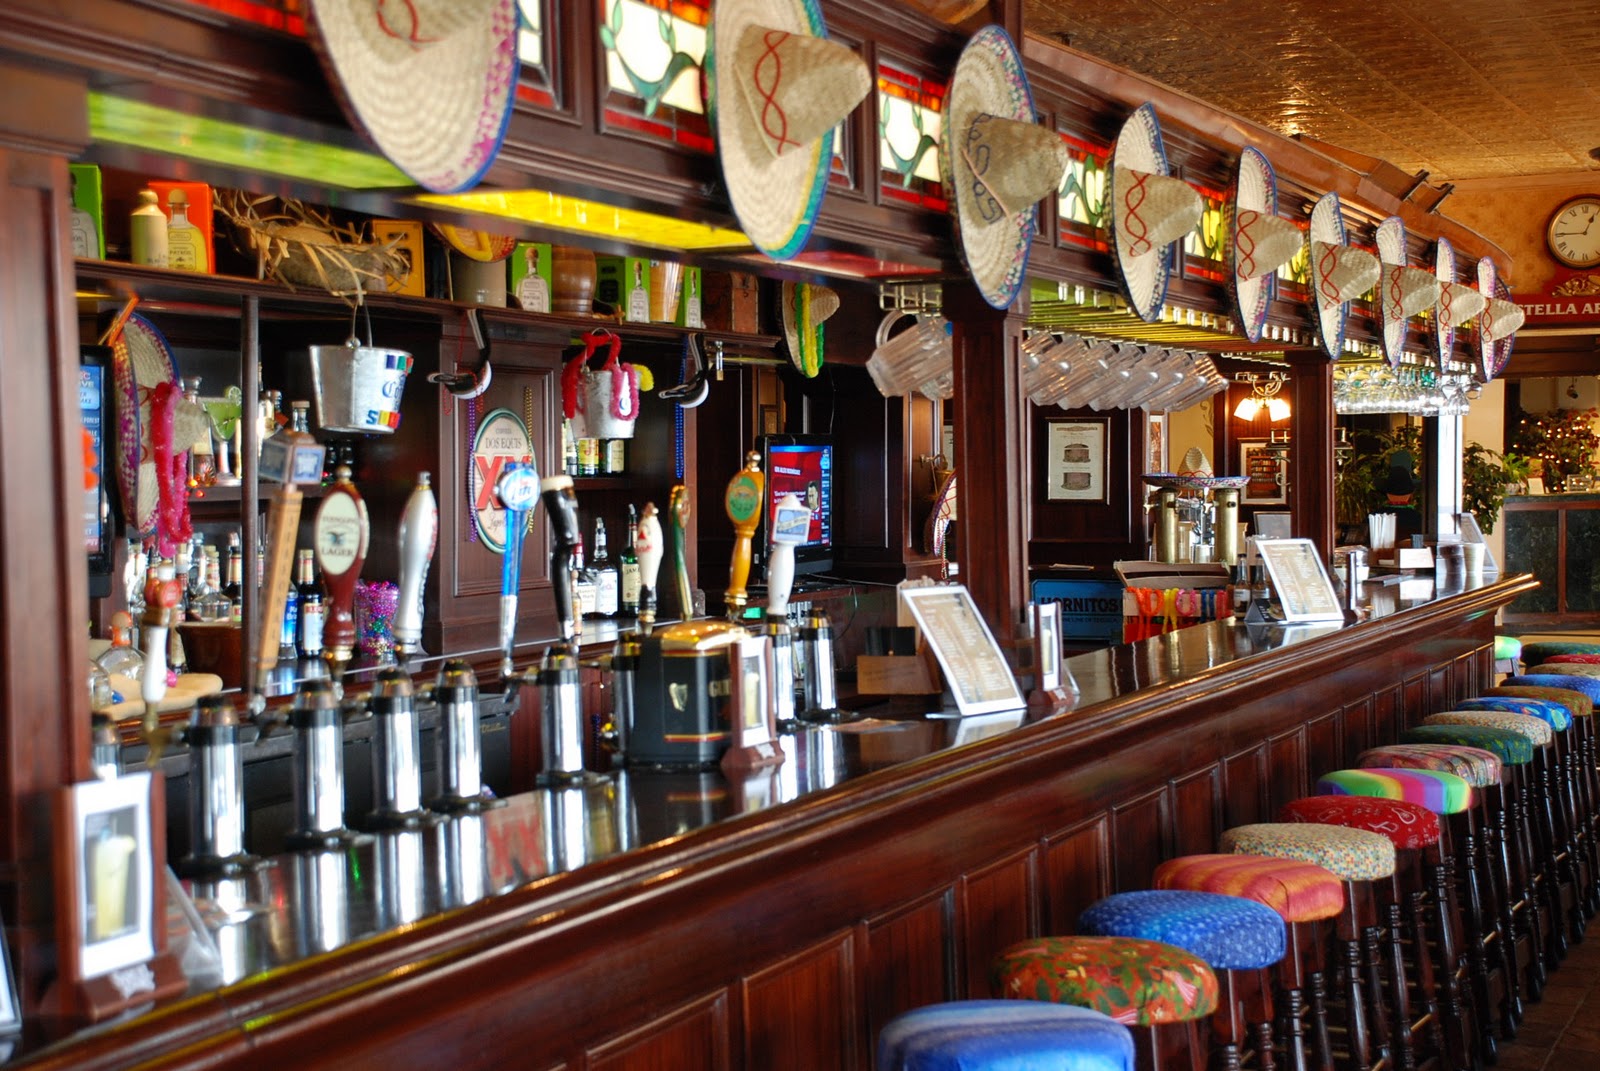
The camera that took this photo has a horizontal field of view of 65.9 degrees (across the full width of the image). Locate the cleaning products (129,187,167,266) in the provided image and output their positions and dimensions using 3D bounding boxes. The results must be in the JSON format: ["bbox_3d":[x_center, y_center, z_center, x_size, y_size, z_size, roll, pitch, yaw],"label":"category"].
[{"bbox_3d":[-2.268,-1.074,4.354,0.126,0.219,0.352,-3,3,-28],"label":"cleaning products"}]

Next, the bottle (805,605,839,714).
[{"bbox_3d":[0.058,0.365,3.548,0.091,0.291,0.242,-2,2,3],"label":"bottle"}]

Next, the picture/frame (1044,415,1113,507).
[{"bbox_3d":[2.212,-0.568,9.813,0.721,0.959,0.097,0,-1,7],"label":"picture/frame"}]

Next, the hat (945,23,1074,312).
[{"bbox_3d":[0.603,-1.154,3.874,0.257,0.778,0.601,-1,5,23],"label":"hat"}]

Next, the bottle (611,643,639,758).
[{"bbox_3d":[-0.424,0.401,3.009,0.086,0.286,0.036,-1,2,36],"label":"bottle"}]

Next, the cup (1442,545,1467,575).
[{"bbox_3d":[4.103,0.150,7.856,0.146,0.162,0.298,-1,3,27],"label":"cup"}]

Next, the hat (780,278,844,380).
[{"bbox_3d":[0.026,-1.139,6.822,0.307,0.472,0.594,-1,2,27],"label":"hat"}]

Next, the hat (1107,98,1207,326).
[{"bbox_3d":[1.303,-1.223,4.617,0.309,0.788,0.458,-1,2,17],"label":"hat"}]

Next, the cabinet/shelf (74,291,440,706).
[{"bbox_3d":[-1.742,-0.154,4.060,1.011,0.971,3.088,-3,3,-17],"label":"cabinet/shelf"}]

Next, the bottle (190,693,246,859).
[{"bbox_3d":[-1.075,0.462,2.296,0.080,0.224,0.067,-3,2,-34],"label":"bottle"}]

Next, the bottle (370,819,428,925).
[{"bbox_3d":[-0.715,0.618,2.234,0.088,0.079,0.324,3,6,-16],"label":"bottle"}]

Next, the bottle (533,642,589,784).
[{"bbox_3d":[-0.556,0.414,2.895,0.099,0.316,0.197,-2,2,-12],"label":"bottle"}]

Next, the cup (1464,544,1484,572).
[{"bbox_3d":[4.204,0.148,7.783,0.097,0.181,0.318,-1,3,28],"label":"cup"}]

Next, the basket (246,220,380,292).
[{"bbox_3d":[-1.803,-1.008,4.627,0.345,0.182,0.274,7,6,19],"label":"basket"}]

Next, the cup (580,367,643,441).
[{"bbox_3d":[-0.828,-0.599,5.735,0.255,0.311,0.322,1,2,21],"label":"cup"}]

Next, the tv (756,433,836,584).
[{"bbox_3d":[-0.038,-0.177,7.200,0.327,0.988,0.906,-3,-7,19],"label":"tv"}]
